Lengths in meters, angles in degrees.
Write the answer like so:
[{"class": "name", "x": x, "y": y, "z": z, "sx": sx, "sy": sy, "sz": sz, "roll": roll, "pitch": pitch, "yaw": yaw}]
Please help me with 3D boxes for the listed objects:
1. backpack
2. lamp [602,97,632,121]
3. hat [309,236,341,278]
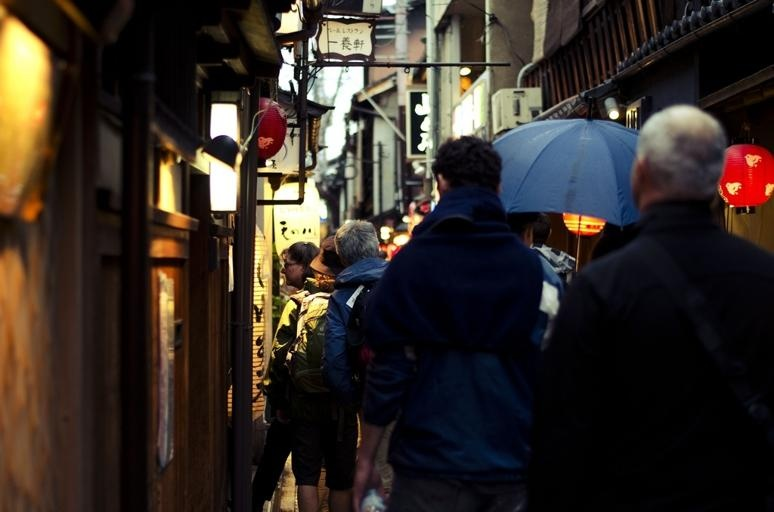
[{"class": "backpack", "x": -0.707, "y": 0.788, "z": 7.525, "sx": 0.378, "sy": 0.918, "sz": 0.285, "roll": 0, "pitch": -5, "yaw": 7}, {"class": "lamp", "x": 2.974, "y": -1.866, "z": 10.795, "sx": 0.306, "sy": 0.326, "sz": 0.350, "roll": -16, "pitch": 31, "yaw": 16}, {"class": "hat", "x": -0.606, "y": 0.011, "z": 8.281, "sx": 0.326, "sy": 0.209, "sz": 0.369, "roll": 5, "pitch": 23, "yaw": -4}]
